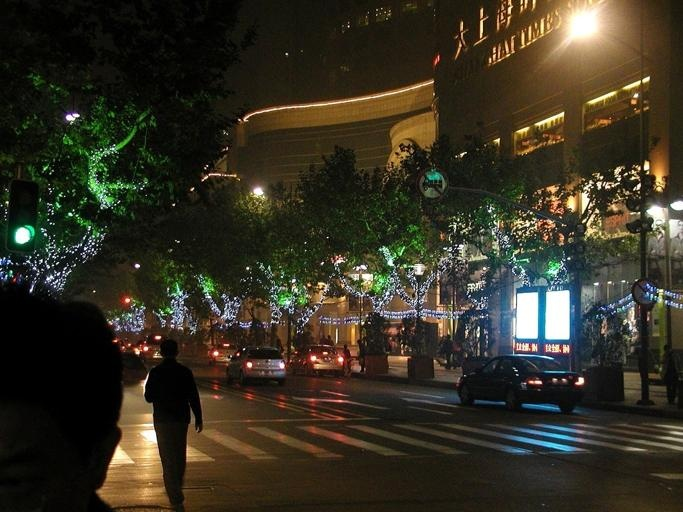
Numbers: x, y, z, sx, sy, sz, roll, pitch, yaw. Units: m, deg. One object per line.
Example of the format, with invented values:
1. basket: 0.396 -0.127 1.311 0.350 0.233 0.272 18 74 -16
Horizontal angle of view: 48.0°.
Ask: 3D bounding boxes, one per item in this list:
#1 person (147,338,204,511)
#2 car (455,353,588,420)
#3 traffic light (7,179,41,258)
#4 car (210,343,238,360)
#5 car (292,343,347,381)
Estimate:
1. person: -2.056 2.044 9.322 0.700 1.855 1.407 6 1 -14
2. car: 5.336 3.830 22.997 1.612 1.811 3.445 7 0 -43
3. traffic light: -5.758 -0.716 13.892 0.509 1.110 0.394 6 1 -29
4. car: -7.718 6.213 50.496 1.751 1.502 3.028 0 0 -12
5. car: -1.268 5.666 41.693 1.824 1.689 3.250 7 0 -37
